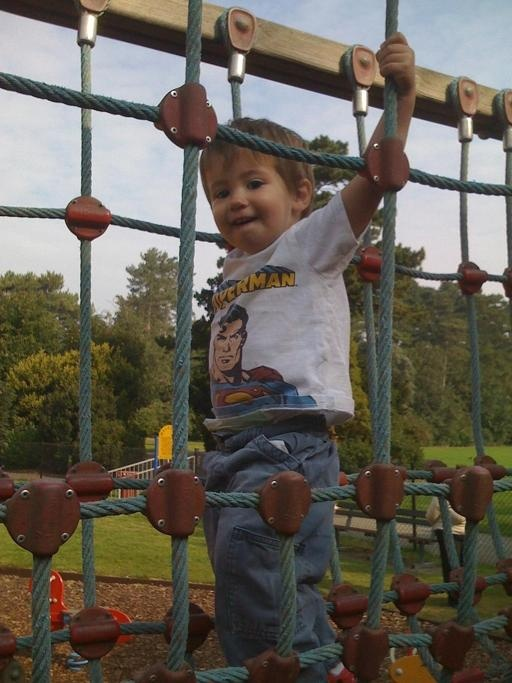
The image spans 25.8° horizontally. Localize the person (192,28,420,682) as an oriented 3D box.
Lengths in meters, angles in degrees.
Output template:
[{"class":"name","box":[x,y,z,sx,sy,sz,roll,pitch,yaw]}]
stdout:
[{"class":"person","box":[0.085,0.076,3.152,0.538,1.747,0.971,4,-4,-5]}]
